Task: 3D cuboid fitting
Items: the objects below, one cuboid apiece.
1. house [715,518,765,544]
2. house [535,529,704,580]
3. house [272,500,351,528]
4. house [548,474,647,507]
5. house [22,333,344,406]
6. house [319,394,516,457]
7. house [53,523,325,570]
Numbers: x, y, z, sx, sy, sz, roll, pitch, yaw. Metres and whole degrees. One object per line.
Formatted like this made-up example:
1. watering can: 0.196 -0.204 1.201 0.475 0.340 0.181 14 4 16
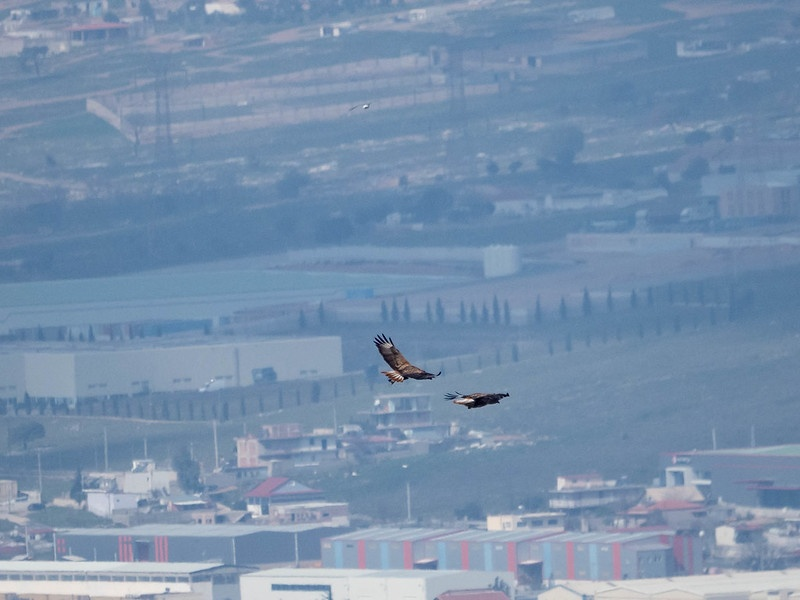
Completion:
1. house: 16.125 11.358 163.415 2.994 1.495 1.116 7 -16 -40
2. house: 10.137 12.296 160.131 7.620 2.297 1.639 -1 -12 -10
3. house: -4.628 10.643 167.279 4.068 1.476 2.256 0 -12 -11
4. house: 9.271 9.673 168.347 4.621 2.067 3.644 -1 -12 -8
5. house: -10.814 3.632 177.731 14.729 3.808 2.386 0 -13 -15
6. house: 0.389 6.493 175.119 7.971 3.398 2.518 -2 -12 -2
7. house: -10.078 11.919 162.806 12.243 2.720 3.391 -5 -12 9
